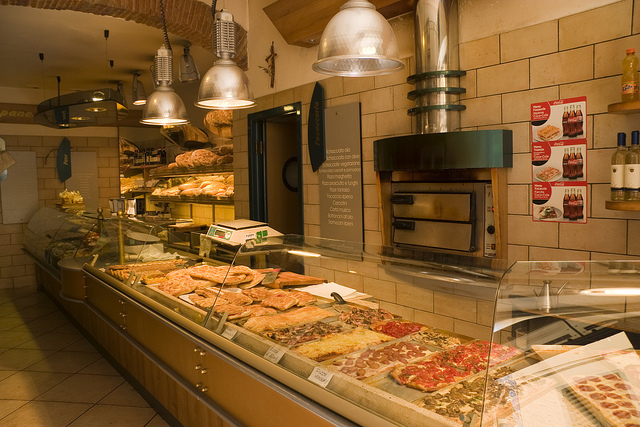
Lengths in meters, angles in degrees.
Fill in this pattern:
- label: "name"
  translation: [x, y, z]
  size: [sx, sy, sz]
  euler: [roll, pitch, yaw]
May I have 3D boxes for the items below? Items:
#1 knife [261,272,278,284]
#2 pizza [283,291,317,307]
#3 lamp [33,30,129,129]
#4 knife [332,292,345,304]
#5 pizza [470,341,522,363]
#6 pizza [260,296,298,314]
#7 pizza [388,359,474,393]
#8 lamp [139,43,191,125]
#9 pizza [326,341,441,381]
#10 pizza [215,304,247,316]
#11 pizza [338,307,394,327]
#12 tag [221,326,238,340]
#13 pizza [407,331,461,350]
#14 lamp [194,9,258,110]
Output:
- label: "knife"
  translation: [-0.331, 0.430, 2.873]
  size: [0.084, 0.076, 0.021]
  euler: [-34, -37, -3]
- label: "pizza"
  translation: [-0.129, 0.540, 2.743]
  size: [0.232, 0.073, 0.075]
  euler: [3, 12, 32]
- label: "lamp"
  translation: [-2.611, -1.417, 4.678]
  size: [1.296, 0.773, 0.654]
  euler: [-8, -7, 29]
- label: "knife"
  translation: [0.108, 0.512, 2.638]
  size: [0.027, 0.027, 0.109]
  euler: [33, 10, -49]
- label: "pizza"
  translation: [0.762, 0.641, 1.933]
  size: [0.127, 0.017, 0.143]
  euler: [7, 9, 40]
- label: "pizza"
  translation: [-0.257, 0.576, 2.758]
  size: [0.148, 0.036, 0.115]
  euler: [5, 24, 26]
- label: "pizza"
  translation: [0.515, 0.794, 2.126]
  size: [0.194, 0.026, 0.180]
  euler: [-6, 8, -42]
- label: "lamp"
  translation: [-1.496, -1.266, 4.170]
  size: [0.457, 0.667, 0.454]
  euler: [10, 17, 21]
- label: "pizza"
  translation: [0.299, 0.771, 2.265]
  size: [0.424, 0.045, 0.221]
  euler: [-7, 10, -30]
- label: "pizza"
  translation: [-0.603, 0.641, 2.911]
  size: [0.114, 0.031, 0.113]
  euler: [-4, 9, -30]
- label: "pizza"
  translation: [0.254, 0.593, 2.478]
  size: [0.325, 0.104, 0.074]
  euler: [4, 13, 34]
- label: "tag"
  translation: [-0.588, 0.775, 2.810]
  size: [0.080, 0.070, 0.019]
  euler: [22, -11, 37]
- label: "pizza"
  translation: [0.616, 0.672, 2.295]
  size: [0.162, 0.021, 0.098]
  euler: [3, 10, 32]
- label: "lamp"
  translation: [-0.754, -1.207, 3.335]
  size: [0.447, 0.742, 0.414]
  euler: [7, 15, 43]
